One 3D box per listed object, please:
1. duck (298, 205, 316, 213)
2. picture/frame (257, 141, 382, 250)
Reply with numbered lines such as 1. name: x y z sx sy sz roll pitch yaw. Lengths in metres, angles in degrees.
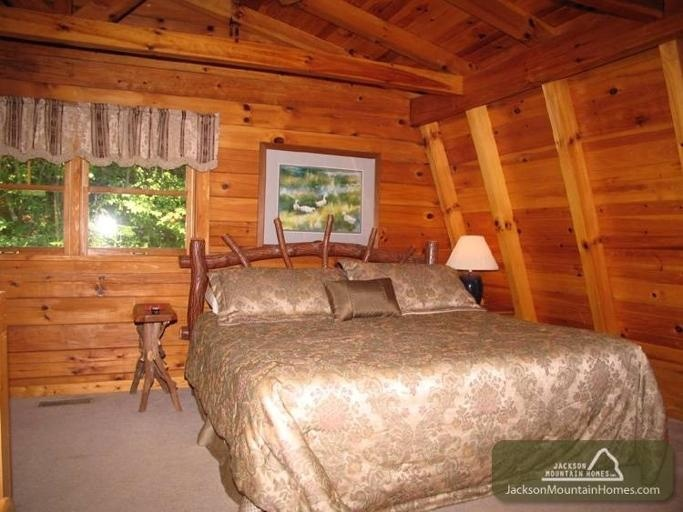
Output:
1. duck: -0.321 -0.439 4.658 0.109 0.040 0.069 -6 12 -44
2. picture/frame: -0.206 -0.548 4.708 1.427 0.965 0.060 9 14 33
